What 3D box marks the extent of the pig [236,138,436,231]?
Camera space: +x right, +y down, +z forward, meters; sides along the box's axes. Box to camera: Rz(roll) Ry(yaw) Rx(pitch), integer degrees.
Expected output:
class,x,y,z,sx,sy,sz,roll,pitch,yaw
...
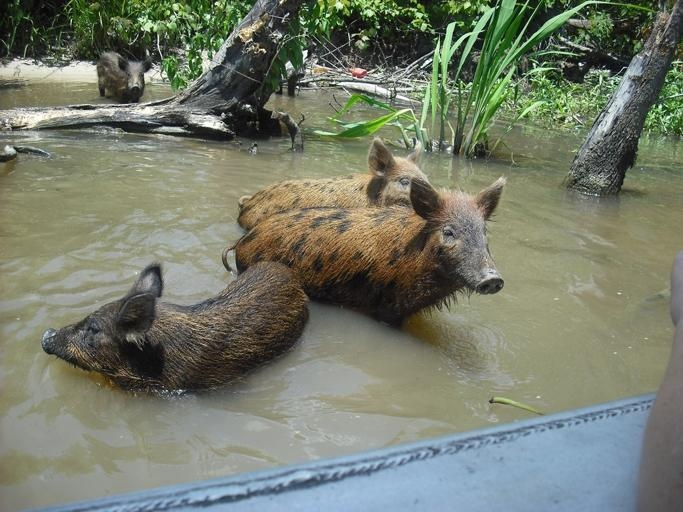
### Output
class,x,y,z,sx,sy,sz,roll,pitch,yaw
pig,-0.034,-0.515,5.714,1.983,1.015,0.765,-7,44,8

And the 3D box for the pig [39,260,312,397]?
class,x,y,z,sx,sy,sz,roll,pitch,yaw
pig,-1.051,0.489,3.850,1.106,0.907,1.293,9,15,28

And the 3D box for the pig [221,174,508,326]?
class,x,y,z,sx,sy,sz,roll,pitch,yaw
pig,0.315,-0.155,4.881,2.366,1.213,0.933,3,15,24
